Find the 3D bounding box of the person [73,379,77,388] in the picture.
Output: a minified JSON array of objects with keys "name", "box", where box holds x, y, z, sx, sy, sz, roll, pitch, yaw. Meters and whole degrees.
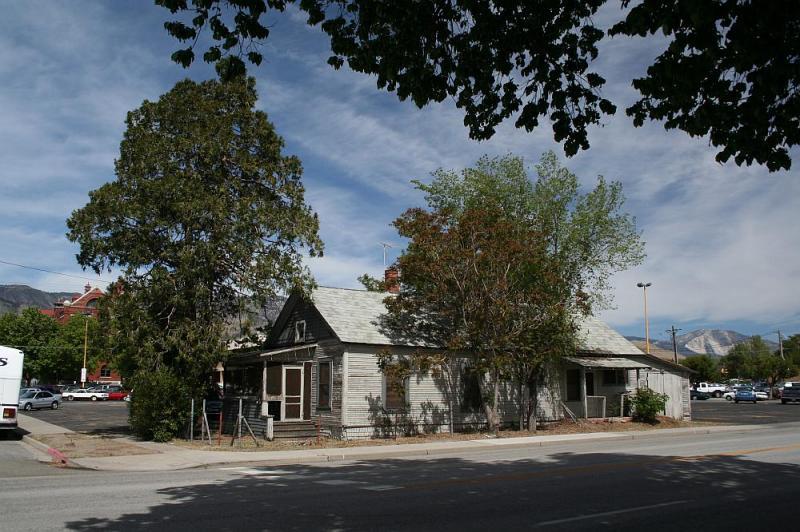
[{"name":"person","box":[-44.702,16.151,91.359,0.668,1.052,0.675,-14,-14,40]}]
